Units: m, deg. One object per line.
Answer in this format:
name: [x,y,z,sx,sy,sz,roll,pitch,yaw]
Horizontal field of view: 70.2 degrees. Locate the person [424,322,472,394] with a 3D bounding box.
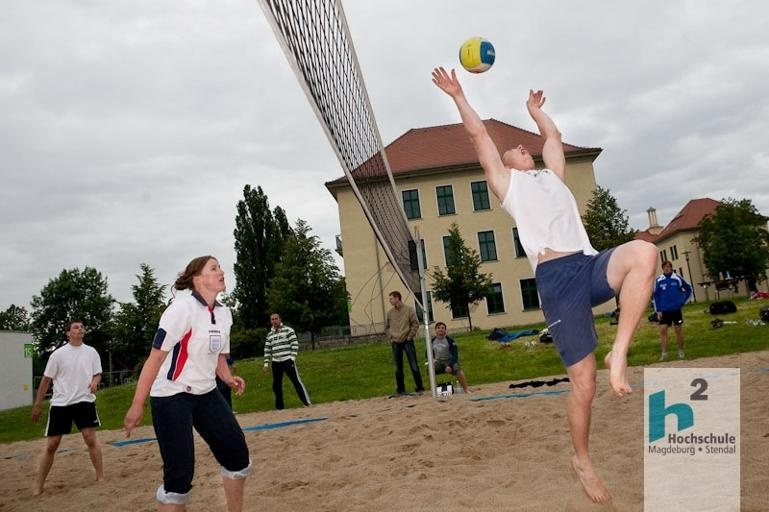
person: [1.159,2.028,10.841,0.687,1.477,0.820,-8,-16,3]

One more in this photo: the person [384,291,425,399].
person: [0.422,1.802,11.553,0.680,2.176,1.518,-6,-6,3]

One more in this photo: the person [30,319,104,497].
person: [-4.208,1.947,7.274,0.781,2.132,0.390,-2,-7,-32]

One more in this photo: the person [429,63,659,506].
person: [1.562,0.158,4.675,1.418,3.957,0.610,-10,-7,32]

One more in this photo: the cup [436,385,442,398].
cup: [1.041,2.591,10.449,0.115,0.231,0.122,-1,-11,0]

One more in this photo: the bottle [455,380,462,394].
bottle: [1.480,2.570,10.845,0.106,0.359,0.111,-7,4,1]
